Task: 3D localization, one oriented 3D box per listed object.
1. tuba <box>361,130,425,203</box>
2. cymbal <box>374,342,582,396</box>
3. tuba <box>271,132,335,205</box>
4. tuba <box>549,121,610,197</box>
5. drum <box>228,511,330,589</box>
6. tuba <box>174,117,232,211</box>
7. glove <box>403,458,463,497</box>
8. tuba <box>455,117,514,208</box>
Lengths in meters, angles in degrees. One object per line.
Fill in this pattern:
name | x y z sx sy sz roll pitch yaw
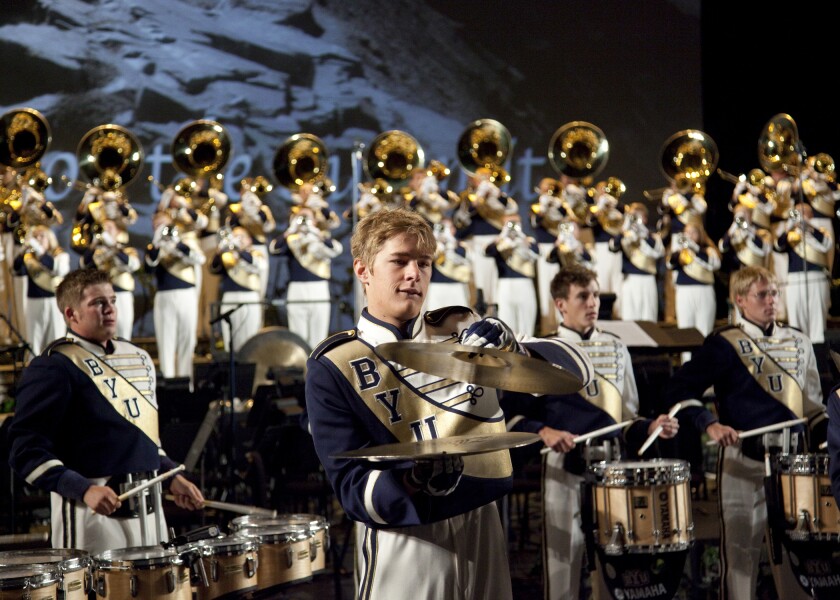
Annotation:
tuba | -0.328 -1.911 25.516 0.989 0.956 0.974 2 -8 -1
cymbal | 0.571 0.733 16.521 1.241 0.569 1.077 13 -1 -18
tuba | -1.656 -1.839 25.106 0.756 0.974 0.706 -1 7 -38
tuba | 2.219 -2.020 25.527 0.665 1.001 0.564 6 5 -7
drum | -1.564 2.667 19.227 0.928 0.762 0.838 3 -2 -27
tuba | -2.996 -1.944 24.556 0.696 1.430 0.602 3 7 -14
glove | 0.133 1.636 16.518 0.461 0.340 0.277 -10 -14 38
tuba | 0.892 -1.948 25.439 0.626 1.281 0.623 -3 8 -32
